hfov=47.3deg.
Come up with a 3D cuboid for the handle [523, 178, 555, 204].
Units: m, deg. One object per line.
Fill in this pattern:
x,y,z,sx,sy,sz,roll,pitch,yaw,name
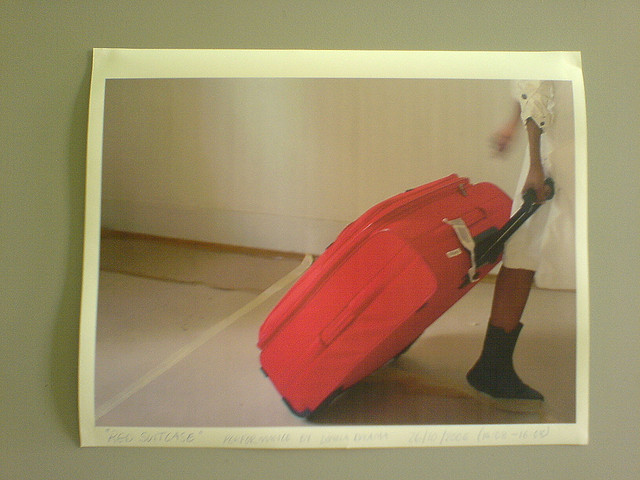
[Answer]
0.726,-0.173,2.461,0.097,0.074,0.035,-35,35,-7,handle
